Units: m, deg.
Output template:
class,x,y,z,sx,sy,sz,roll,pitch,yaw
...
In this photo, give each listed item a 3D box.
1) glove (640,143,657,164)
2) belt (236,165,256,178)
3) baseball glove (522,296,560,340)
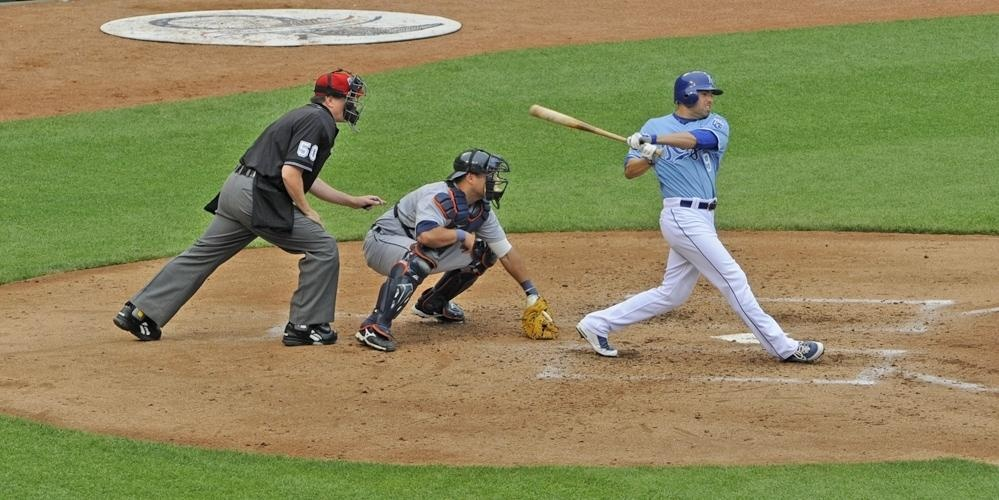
class,x,y,z,sx,sy,sz,roll,pitch,yaw
glove,2.341,-1.544,18.888,0.266,0.288,0.149,-4,23,-2
belt,-4.082,-1.283,19.499,0.233,0.088,0.256,15,-14,20
baseball glove,0.639,1.136,20.055,0.724,0.644,0.373,-9,1,16
